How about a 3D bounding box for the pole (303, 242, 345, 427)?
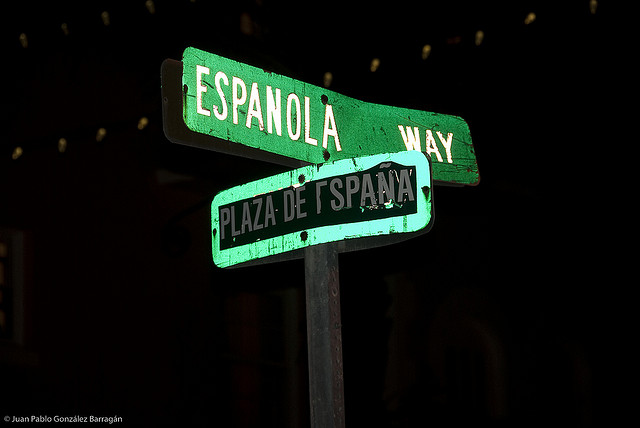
[{"bbox_3d":[0.014,0.481,3.006,0.145,0.718,0.142,-1,-11,-2],"label":"pole"}]
